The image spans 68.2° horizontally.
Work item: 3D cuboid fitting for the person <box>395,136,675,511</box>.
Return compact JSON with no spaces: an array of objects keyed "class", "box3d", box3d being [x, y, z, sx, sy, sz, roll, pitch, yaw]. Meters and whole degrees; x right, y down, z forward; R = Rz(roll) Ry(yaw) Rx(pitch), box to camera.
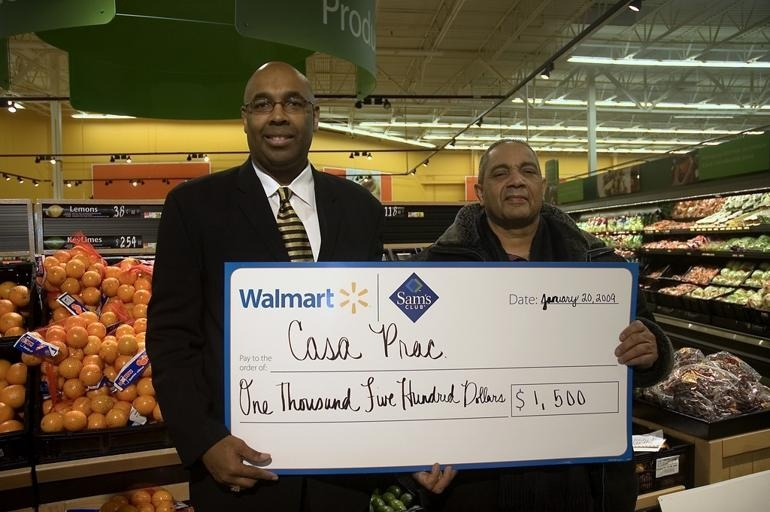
[{"class":"person","box3d":[0.794,0.326,2.859,1.201,1.880,0.639,0,3,2]}]
